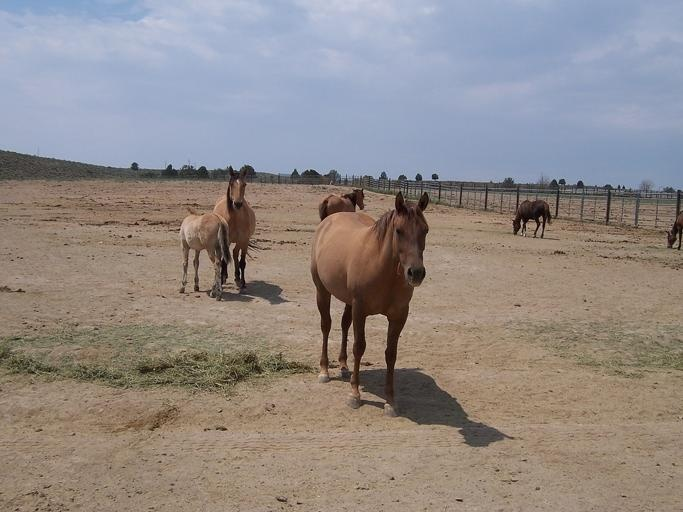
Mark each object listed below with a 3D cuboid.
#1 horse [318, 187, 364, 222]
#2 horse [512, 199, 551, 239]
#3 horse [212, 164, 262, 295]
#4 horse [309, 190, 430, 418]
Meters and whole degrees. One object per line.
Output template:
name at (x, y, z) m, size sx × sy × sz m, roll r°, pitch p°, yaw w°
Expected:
horse at (0.020, -1.359, 17.957) m, size 1.746 × 1.206 × 0.510 m, roll -8°, pitch 18°, yaw -43°
horse at (8.519, -1.711, 26.987) m, size 0.640 × 1.825 × 2.241 m, roll 4°, pitch -6°, yaw -22°
horse at (-2.736, -0.548, 15.196) m, size 1.029 × 2.742 × 3.820 m, roll 3°, pitch -4°, yaw -10°
horse at (0.420, 0.656, 9.081) m, size 1.186 × 3.155 × 4.150 m, roll 1°, pitch 3°, yaw -15°
